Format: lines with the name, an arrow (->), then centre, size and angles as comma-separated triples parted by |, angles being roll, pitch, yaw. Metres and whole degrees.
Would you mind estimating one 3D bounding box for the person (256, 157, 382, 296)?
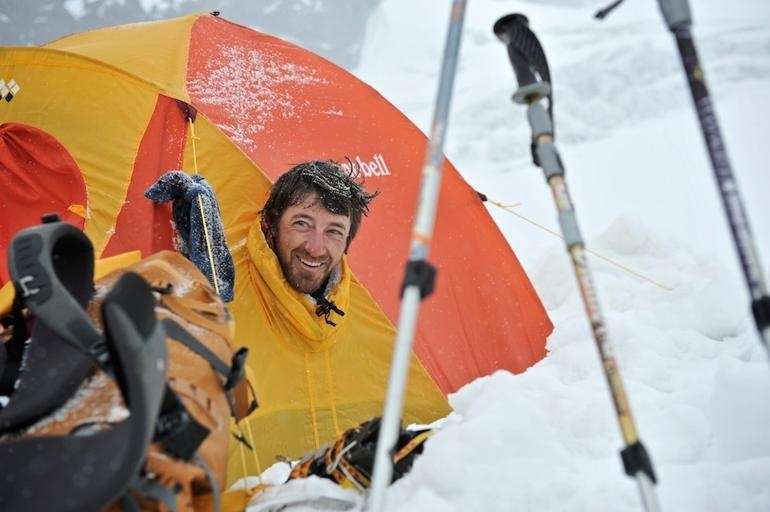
person -> -0.464, -0.194, 6.390 | 0.664, 0.866, 0.688 | 11, 2, -32
